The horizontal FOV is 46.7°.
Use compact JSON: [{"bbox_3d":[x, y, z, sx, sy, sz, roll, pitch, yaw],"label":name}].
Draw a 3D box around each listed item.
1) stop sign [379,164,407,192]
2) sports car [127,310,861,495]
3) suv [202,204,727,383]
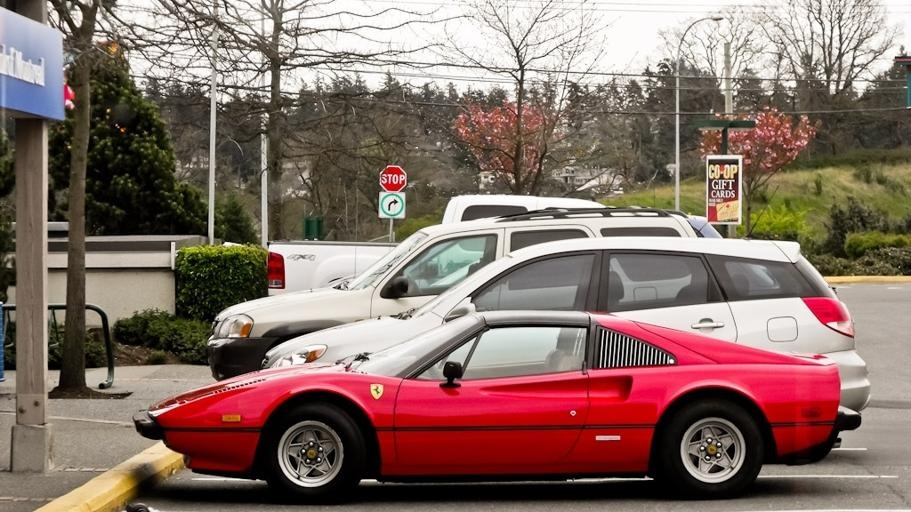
[{"bbox_3d":[-1.540,-1.938,26.123,0.584,0.648,0.616,-2,2,-11],"label":"stop sign"},{"bbox_3d":[0.932,2.188,15.084,9.112,2.683,0.684,-1,2,-4],"label":"sports car"},{"bbox_3d":[0.542,0.805,19.460,9.599,2.905,3.916,-2,9,6],"label":"suv"}]
